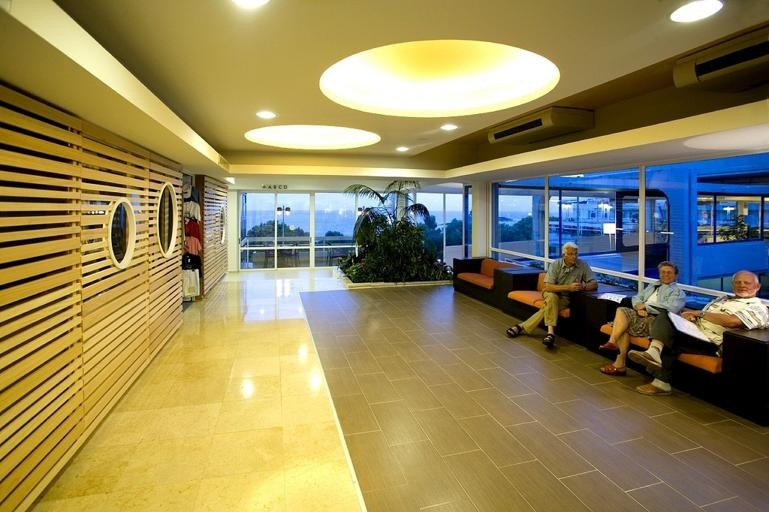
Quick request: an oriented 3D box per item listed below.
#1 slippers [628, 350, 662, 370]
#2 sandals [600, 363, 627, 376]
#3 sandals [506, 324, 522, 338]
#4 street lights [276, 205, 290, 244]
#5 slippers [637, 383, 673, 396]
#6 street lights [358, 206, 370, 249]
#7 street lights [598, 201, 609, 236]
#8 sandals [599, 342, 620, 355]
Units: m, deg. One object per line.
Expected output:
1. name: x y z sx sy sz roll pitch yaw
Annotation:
1. slippers: 2.841 1.127 4.850 0.351 0.147 0.164 19 -24 28
2. sandals: 2.718 1.342 5.286 0.239 0.087 0.137 2 2 20
3. sandals: 1.916 1.106 6.585 0.108 0.100 0.302 -7 -10 38
4. street lights: -2.932 -0.898 12.996 0.421 1.105 0.051 -2 9 -15
5. slippers: 2.932 1.457 4.854 0.329 0.106 0.143 0 -5 14
6. street lights: -0.500 -0.697 10.756 0.280 0.902 0.429 -1 8 -4
7. street lights: 3.703 -0.625 7.444 0.050 0.536 0.326 -3 8 -15
8. sandals: 2.784 1.123 5.460 0.357 0.140 0.130 10 -16 -30
